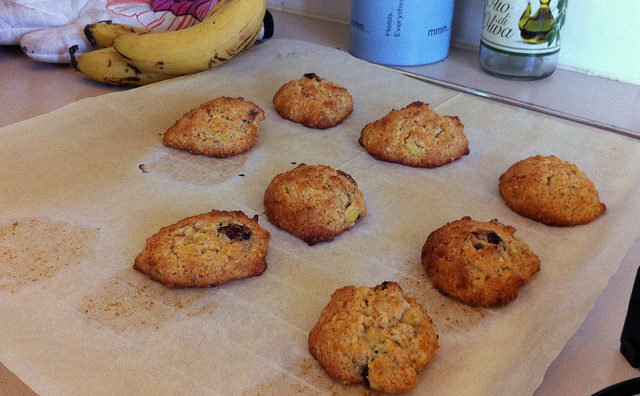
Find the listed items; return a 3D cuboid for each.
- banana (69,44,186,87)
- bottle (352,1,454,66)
[{"bbox_3d":[-0.917,-0.688,2.729,0.640,0.206,0.172,-13,47,-16],"label":"banana"},{"bbox_3d":[0.439,-0.852,2.866,0.395,0.378,0.391,-6,16,-41],"label":"bottle"}]
